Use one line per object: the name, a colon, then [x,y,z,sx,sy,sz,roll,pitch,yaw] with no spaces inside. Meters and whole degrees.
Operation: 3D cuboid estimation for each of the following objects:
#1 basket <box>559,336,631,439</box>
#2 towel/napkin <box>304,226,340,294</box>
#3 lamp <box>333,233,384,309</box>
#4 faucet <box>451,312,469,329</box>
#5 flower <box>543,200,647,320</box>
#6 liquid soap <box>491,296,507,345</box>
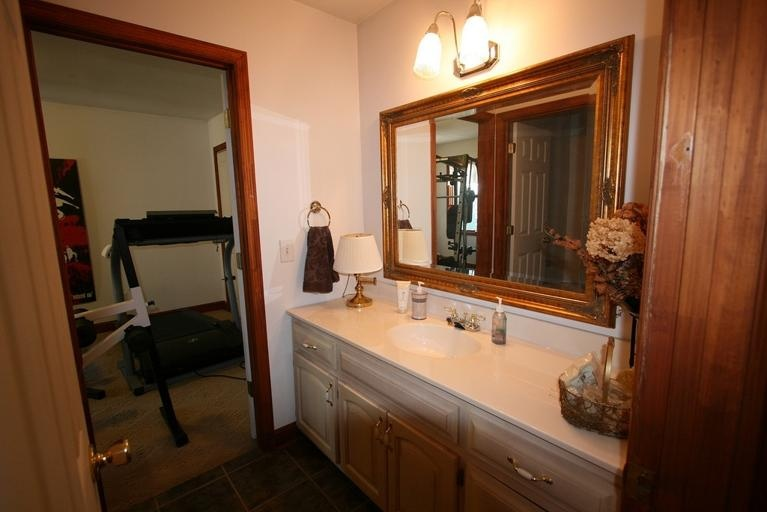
basket: [0.830,0.461,1.919,0.334,0.334,0.215,-7,9,-27]
towel/napkin: [-0.356,0.022,3.017,0.231,0.524,0.123,0,9,9]
lamp: [-0.150,0.060,3.036,0.372,0.483,0.370,-4,8,-17]
faucet: [0.384,0.321,2.610,0.058,0.033,0.091,-5,10,-28]
flower: [0.826,-0.004,1.978,0.257,0.421,0.322,10,9,-8]
liquid soap: [0.540,0.302,2.434,0.068,0.203,0.081,3,10,34]
